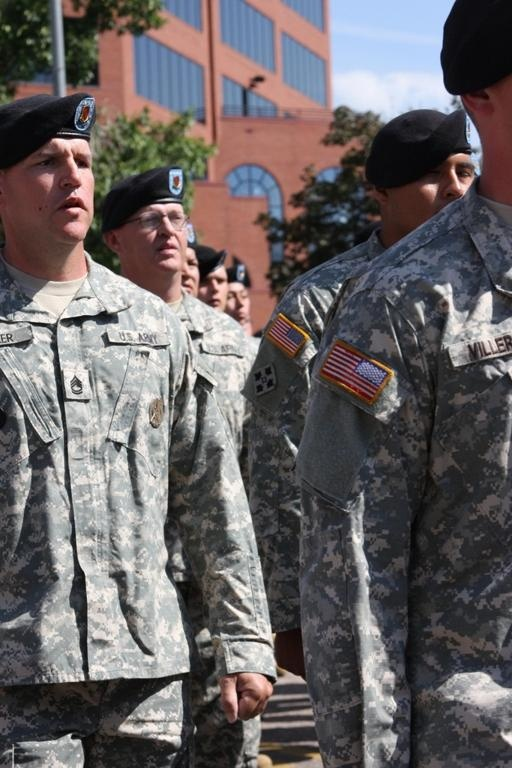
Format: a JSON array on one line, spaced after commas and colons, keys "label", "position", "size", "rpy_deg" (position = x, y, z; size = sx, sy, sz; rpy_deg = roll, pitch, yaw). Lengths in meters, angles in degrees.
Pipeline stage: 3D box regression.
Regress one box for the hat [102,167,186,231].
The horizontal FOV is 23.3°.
[{"label": "hat", "position": [-0.500, -0.759, 5.122], "size": [0.289, 0.124, 0.334], "rpy_deg": [-18, 5, -44]}]
